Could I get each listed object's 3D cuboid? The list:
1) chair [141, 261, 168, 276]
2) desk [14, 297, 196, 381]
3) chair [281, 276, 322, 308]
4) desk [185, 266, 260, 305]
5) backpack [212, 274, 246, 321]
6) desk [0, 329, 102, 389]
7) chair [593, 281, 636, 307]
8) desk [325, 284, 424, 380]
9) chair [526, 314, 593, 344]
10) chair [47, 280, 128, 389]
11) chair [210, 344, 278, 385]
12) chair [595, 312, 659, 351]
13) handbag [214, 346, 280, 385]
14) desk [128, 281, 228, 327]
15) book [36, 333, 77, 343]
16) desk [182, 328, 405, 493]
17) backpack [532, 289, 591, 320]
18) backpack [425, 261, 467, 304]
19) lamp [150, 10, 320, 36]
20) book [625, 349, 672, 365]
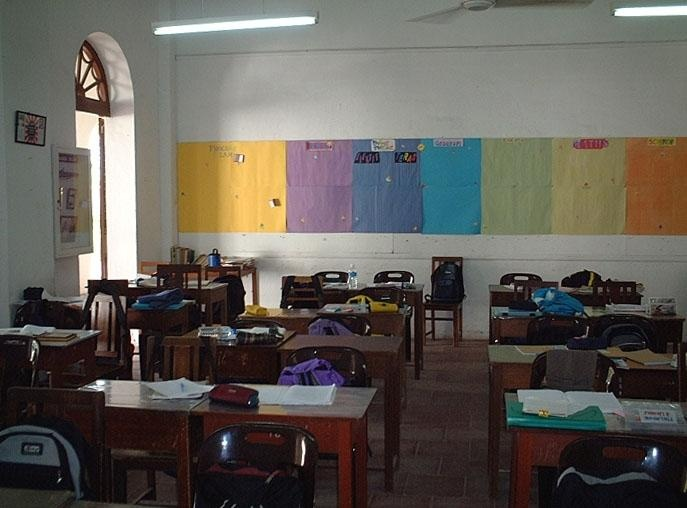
[{"bbox_3d":[-2.449,0.185,7.643,0.326,0.202,0.325,2,2,-1],"label":"chair"},{"bbox_3d":[-1.908,0.849,5.691,0.903,0.802,1.621,4,-8,-40],"label":"desk"},{"bbox_3d":[-0.425,0.395,6.306,0.357,0.490,0.356,0,2,0],"label":"chair"},{"bbox_3d":[-1.514,0.493,7.768,0.674,0.628,0.510,-1,-1,3],"label":"desk"},{"bbox_3d":[-1.287,0.513,7.002,0.460,0.755,0.479,-1,-1,-5],"label":"backpack"},{"bbox_3d":[-2.128,0.696,4.408,0.538,0.496,0.539,1,0,7],"label":"desk"},{"bbox_3d":[2.730,0.358,6.021,0.293,0.190,0.294,0,4,15],"label":"chair"},{"bbox_3d":[0.350,0.639,6.538,1.246,1.162,0.871,-1,1,8],"label":"desk"},{"bbox_3d":[1.612,0.578,4.542,0.275,0.181,0.280,1,5,12],"label":"chair"},{"bbox_3d":[-2.020,0.633,5.010,0.597,0.999,0.785,0,1,0],"label":"chair"},{"bbox_3d":[-0.692,0.682,4.236,0.413,0.388,0.283,0,0,7],"label":"chair"},{"bbox_3d":[2.231,0.589,4.729,0.403,0.332,0.339,-1,2,-35],"label":"chair"},{"bbox_3d":[-0.688,0.770,4.274,0.419,0.393,0.282,0,0,8],"label":"handbag"},{"bbox_3d":[-1.607,0.554,6.416,0.502,0.371,0.755,1,-3,9],"label":"desk"},{"bbox_3d":[-2.048,0.590,4.272,0.244,0.033,0.205,0,7,-2],"label":"book"},{"bbox_3d":[-0.113,0.947,4.340,1.049,0.977,1.002,1,7,12],"label":"desk"},{"bbox_3d":[1.857,0.423,5.131,0.307,0.116,0.308,2,4,7],"label":"backpack"},{"bbox_3d":[1.319,0.362,7.612,0.418,0.481,0.488,2,7,10],"label":"backpack"},{"bbox_3d":[-1.116,-2.227,5.917,1.712,0.098,0.314,2,7,10],"label":"lamp"},{"bbox_3d":[1.985,0.669,3.913,0.286,0.030,0.317,4,8,28],"label":"book"}]
